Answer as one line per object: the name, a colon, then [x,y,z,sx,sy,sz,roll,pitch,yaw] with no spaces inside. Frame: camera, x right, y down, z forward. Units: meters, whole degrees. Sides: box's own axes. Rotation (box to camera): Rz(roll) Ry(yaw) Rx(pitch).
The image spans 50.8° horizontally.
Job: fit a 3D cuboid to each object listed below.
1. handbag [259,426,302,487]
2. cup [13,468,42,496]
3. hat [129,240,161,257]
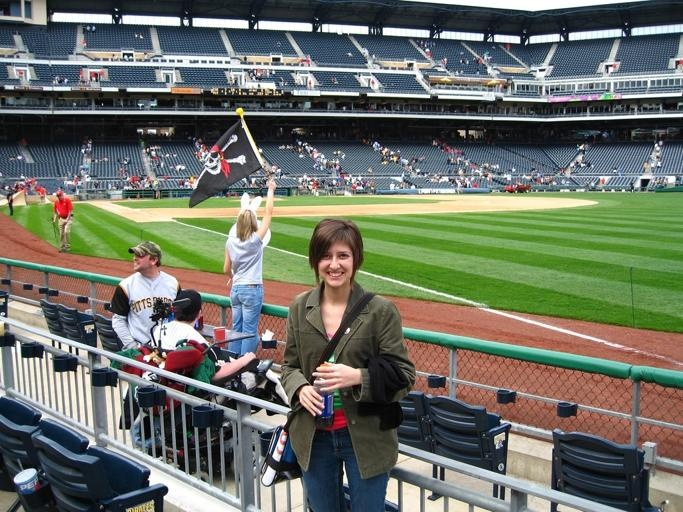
handbag: [-0.411,1.318,4.858,0.123,0.252,0.332,30,-48,-29]
cup: [-2.404,1.754,5.625,0.221,0.209,0.193,0,4,4]
hat: [-1.995,-0.076,7.444,0.213,0.158,0.332,-3,-8,43]
